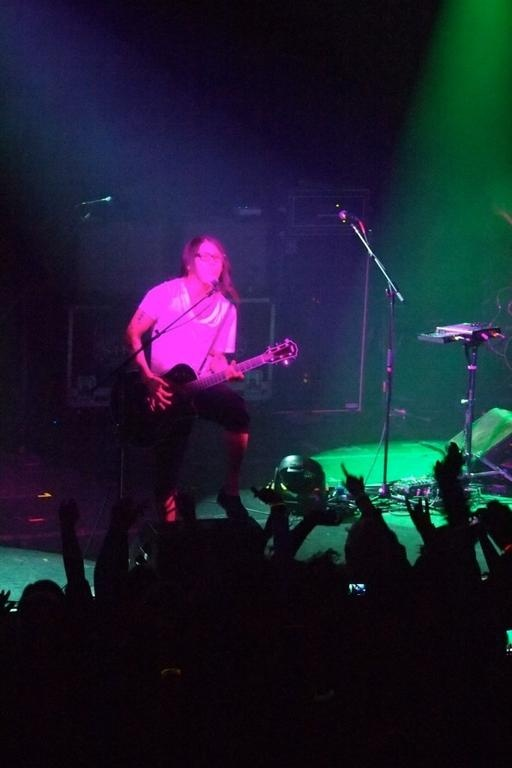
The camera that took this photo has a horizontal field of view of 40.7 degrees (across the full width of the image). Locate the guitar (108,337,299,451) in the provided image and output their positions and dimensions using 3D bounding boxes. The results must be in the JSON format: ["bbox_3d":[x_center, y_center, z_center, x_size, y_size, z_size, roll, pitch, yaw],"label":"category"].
[{"bbox_3d":[-0.287,0.024,3.638,1.079,0.479,0.126,-19,-2,2],"label":"guitar"}]
